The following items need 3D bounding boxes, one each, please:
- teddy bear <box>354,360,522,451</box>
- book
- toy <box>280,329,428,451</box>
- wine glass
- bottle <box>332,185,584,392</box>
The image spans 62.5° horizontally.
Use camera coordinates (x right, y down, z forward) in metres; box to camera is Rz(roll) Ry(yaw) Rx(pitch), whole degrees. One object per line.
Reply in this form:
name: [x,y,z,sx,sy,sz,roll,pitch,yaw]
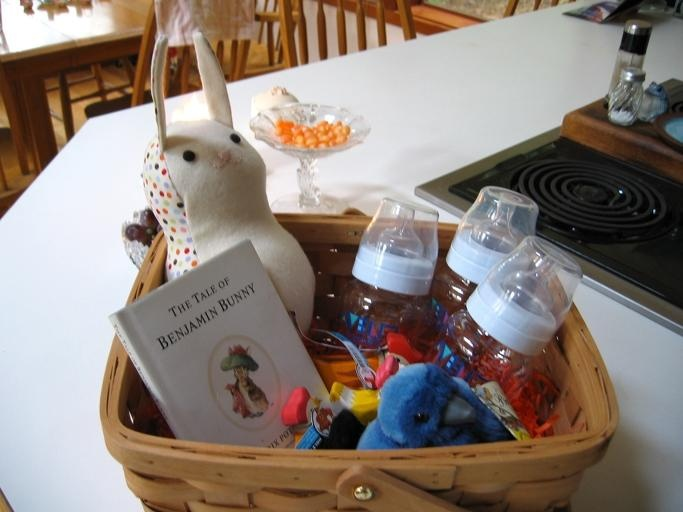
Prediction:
teddy bear: [0.080,0.142,0.514,0.100,0.080,0.082,-5,12,10]
book: [-0.129,0.108,0.603,0.207,0.223,0.051,-35,10,-36]
toy: [0.011,0.144,0.594,0.093,0.035,0.087,-26,43,-13]
wine glass: [-0.072,-0.170,1.034,0.208,0.167,0.210,-24,44,-36]
bottle: [0.140,0.003,0.771,0.269,0.310,0.159,20,17,7]
